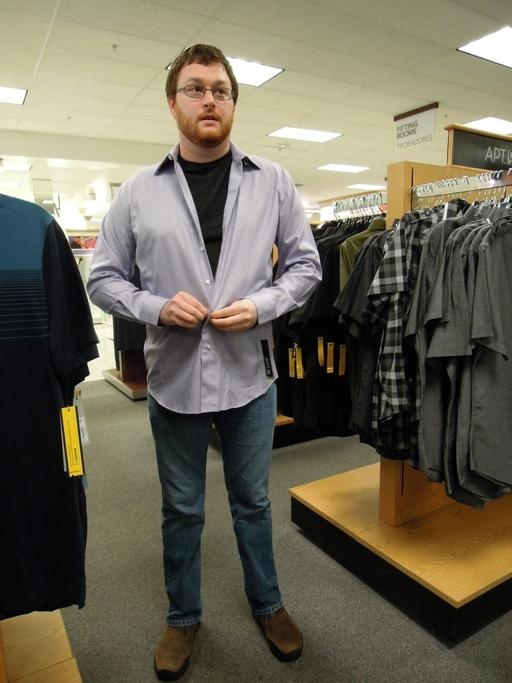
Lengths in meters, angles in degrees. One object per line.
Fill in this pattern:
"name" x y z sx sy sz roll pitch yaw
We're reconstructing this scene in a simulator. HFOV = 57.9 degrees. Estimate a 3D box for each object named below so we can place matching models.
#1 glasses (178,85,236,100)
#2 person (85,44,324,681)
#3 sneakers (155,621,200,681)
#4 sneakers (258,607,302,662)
"glasses" -0.122 -0.583 1.094 0.127 0.039 0.043 -3 6 -8
"person" -0.115 0.116 1.255 0.623 1.679 0.368 -3 6 -19
"sneakers" -0.235 0.889 1.338 0.055 0.076 0.178 4 -4 5
"sneakers" 0.071 0.863 1.378 0.076 0.069 0.166 -3 0 -20
